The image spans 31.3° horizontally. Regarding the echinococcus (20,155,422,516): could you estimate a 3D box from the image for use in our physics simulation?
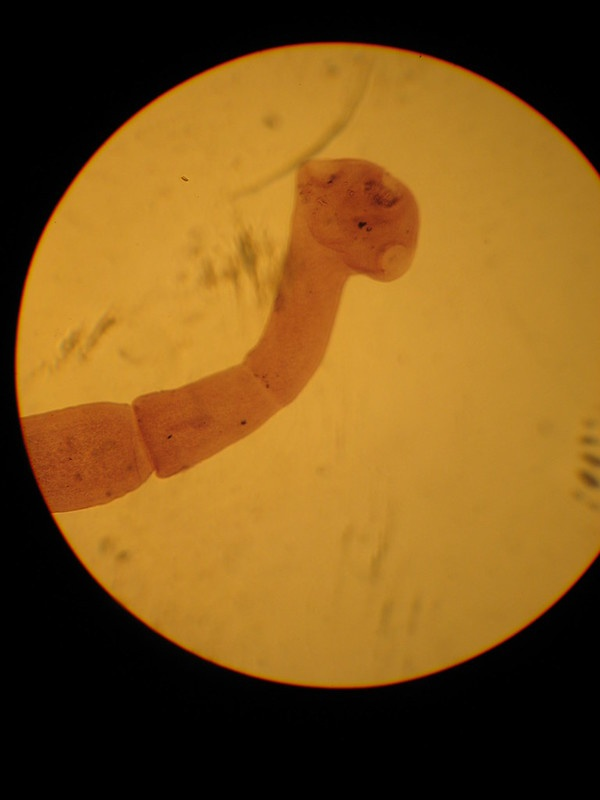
[{"bbox_3d":[-0.217,-0.173,3.246,1.441,0.233,0.488,-39,80,-8],"label":"echinococcus"}]
